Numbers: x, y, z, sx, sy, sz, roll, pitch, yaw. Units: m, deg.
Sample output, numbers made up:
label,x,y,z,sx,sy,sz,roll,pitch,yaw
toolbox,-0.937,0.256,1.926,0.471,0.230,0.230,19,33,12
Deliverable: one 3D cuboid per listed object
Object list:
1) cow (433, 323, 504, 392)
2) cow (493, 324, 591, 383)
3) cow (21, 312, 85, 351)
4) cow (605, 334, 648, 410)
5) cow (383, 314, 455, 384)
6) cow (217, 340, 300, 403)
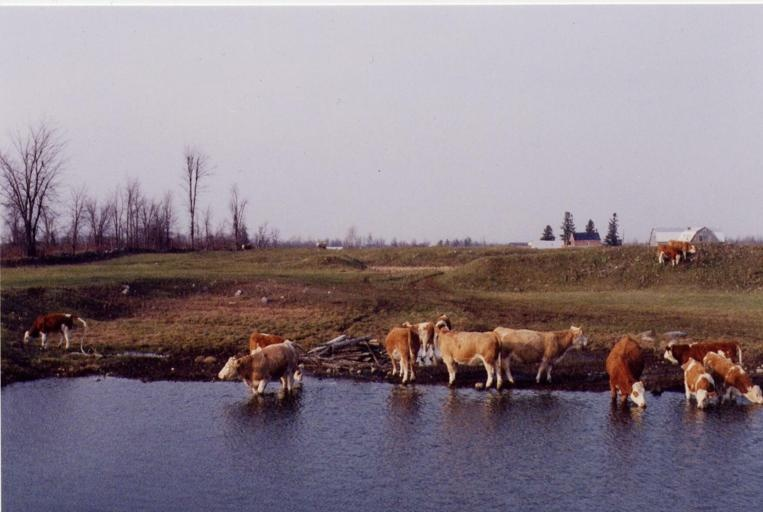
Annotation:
label,x,y,z,sx,sy,sz,roll,pitch,yaw
cow,4.735,5.456,52.228,2.809,3.616,3.726,-1,4,0
cow,8.609,5.409,52.463,4.860,3.146,3.450,1,0,5
cow,-19.931,4.578,57.575,3.514,2.175,0.900,-2,4,-11
cow,13.074,6.042,49.966,1.878,3.563,2.368,-1,-11,-8
cow,1.500,4.928,53.408,2.721,4.313,5.215,2,8,10
cow,-6.237,6.182,50.719,4.913,2.926,1.424,-11,17,-34
